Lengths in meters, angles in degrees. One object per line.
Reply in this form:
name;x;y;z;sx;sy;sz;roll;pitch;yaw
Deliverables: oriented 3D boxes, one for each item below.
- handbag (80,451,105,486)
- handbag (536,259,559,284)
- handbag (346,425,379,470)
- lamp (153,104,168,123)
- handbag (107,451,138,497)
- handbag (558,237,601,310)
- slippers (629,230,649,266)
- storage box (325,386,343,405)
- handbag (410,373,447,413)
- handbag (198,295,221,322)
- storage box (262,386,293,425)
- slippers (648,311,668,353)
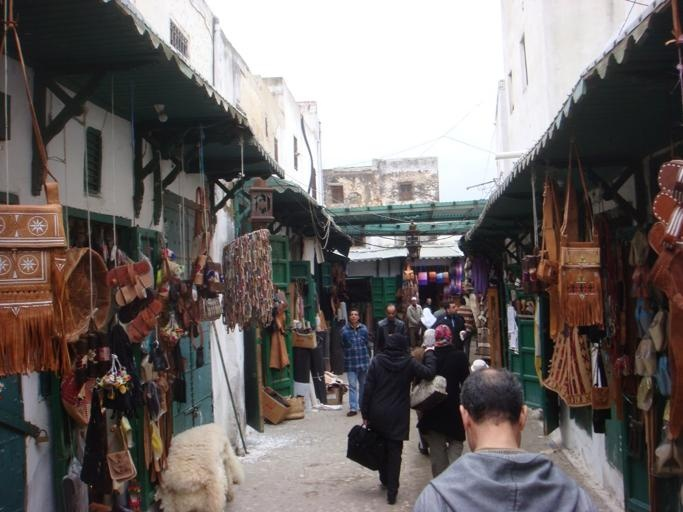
handbag;-2.047;1.742;6.355;0.075;0.291;0.202;-6;-7;32
handbag;1.781;0.134;6.699;0.167;0.203;0.138;1;-2;18
handbag;0.238;1.984;8.307;0.160;0.494;0.424;-1;8;-45
lamp;-1.755;-1.388;7.495;0.099;0.145;0.110;-6;19;-13
handbag;-1.847;1.817;6.495;0.100;0.334;0.284;-4;4;40
handbag;1.973;0.117;6.410;0.399;0.683;0.373;0;-6;-4
slippers;2.482;-0.071;6.436;0.133;0.320;0.333;-4;-7;12
storage box;-0.140;2.590;14.289;0.268;0.467;0.348;1;-8;-8
handbag;0.915;1.429;8.050;0.119;0.288;0.284;31;-54;-24
handbag;-1.370;0.560;8.271;0.185;0.239;0.531;-4;-7;12
storage box;-1.035;2.333;12.115;0.394;0.574;0.626;-2;-7;-3
slippers;2.538;0.595;6.202;0.077;0.276;0.197;3;12;7
